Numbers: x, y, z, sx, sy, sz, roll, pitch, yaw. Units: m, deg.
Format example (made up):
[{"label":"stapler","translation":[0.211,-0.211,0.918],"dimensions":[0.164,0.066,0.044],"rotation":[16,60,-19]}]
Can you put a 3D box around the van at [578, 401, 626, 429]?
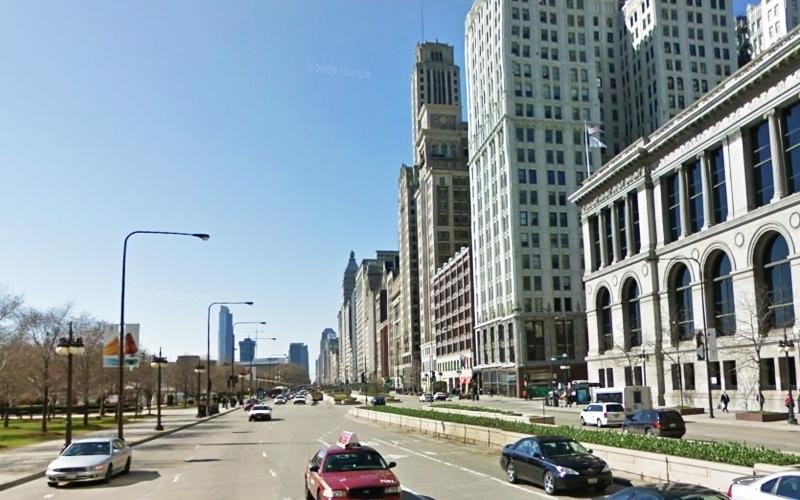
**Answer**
[{"label":"van","translation":[20.048,16.514,71.767],"dimensions":[2.212,1.596,3.709],"rotation":[2,-4,-18]}]

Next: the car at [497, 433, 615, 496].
[{"label":"car","translation":[10.682,14.854,49.260],"dimensions":[6.931,3.861,2.002],"rotation":[-8,-17,22]}]
